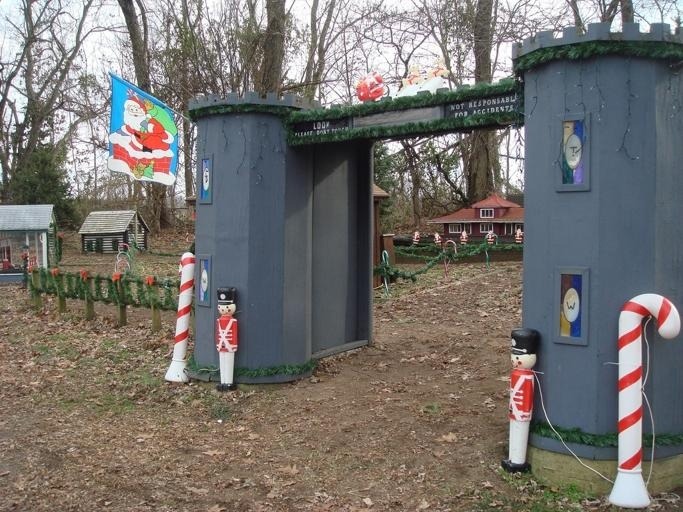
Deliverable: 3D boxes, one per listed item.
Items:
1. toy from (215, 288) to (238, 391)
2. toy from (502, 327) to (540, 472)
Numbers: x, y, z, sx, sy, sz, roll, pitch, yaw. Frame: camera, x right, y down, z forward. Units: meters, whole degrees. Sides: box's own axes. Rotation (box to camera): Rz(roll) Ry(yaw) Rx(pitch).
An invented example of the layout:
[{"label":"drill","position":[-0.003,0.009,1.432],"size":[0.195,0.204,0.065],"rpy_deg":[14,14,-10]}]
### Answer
[{"label":"toy","position":[-1.704,1.225,11.177],"size":[0.313,1.510,0.311],"rpy_deg":[-2,9,-10]},{"label":"toy","position":[2.112,1.677,8.745],"size":[0.367,1.630,0.479],"rpy_deg":[2,9,18]}]
